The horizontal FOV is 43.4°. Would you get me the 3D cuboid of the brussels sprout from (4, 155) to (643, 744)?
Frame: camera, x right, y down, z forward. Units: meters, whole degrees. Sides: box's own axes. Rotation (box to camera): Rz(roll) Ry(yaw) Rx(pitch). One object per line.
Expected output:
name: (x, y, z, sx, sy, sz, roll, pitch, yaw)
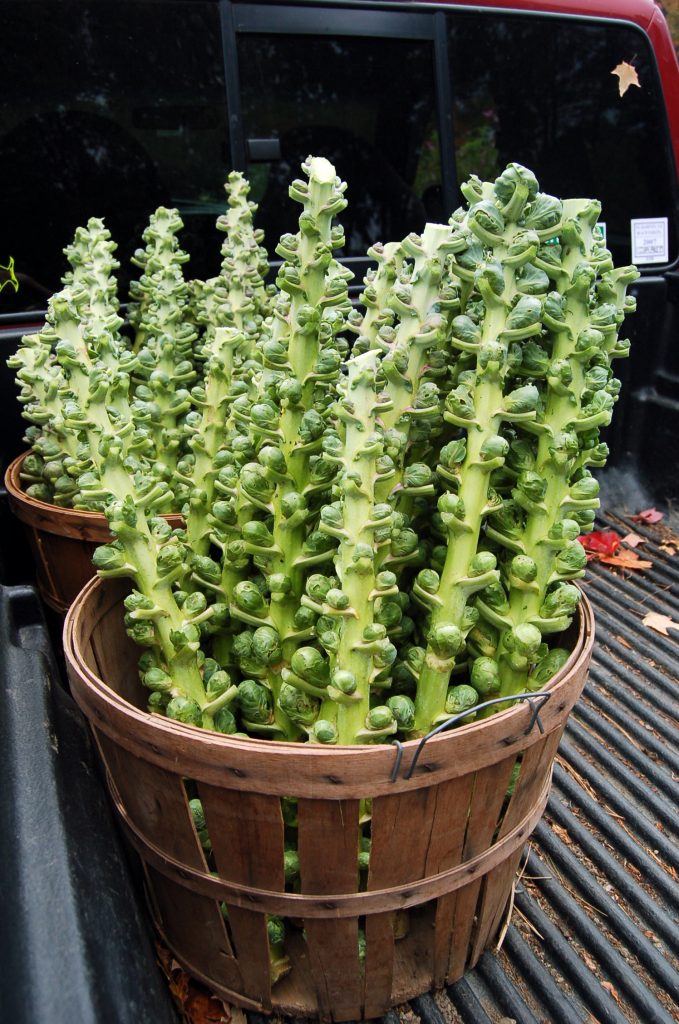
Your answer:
brussels sprout: (-0.074, -0.105, 1.339, 0.960, 0.878, 0.691, 12, 17, 29)
